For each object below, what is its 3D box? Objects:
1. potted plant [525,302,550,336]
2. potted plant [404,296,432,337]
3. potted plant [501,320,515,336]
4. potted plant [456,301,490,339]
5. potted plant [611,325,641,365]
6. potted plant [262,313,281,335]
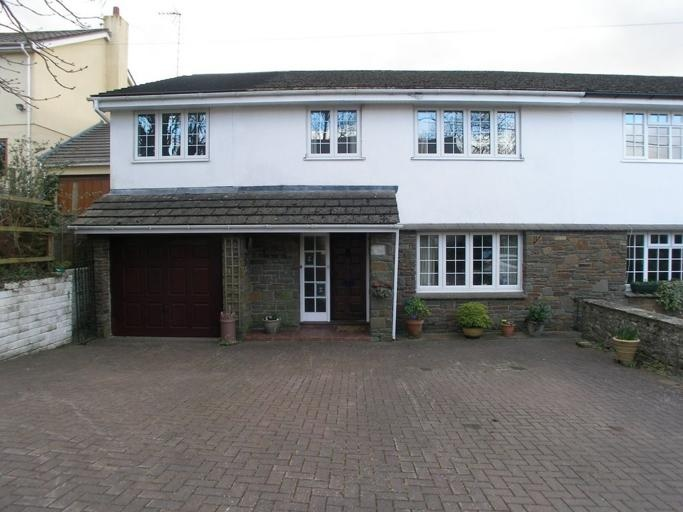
[{"bbox_3d":[5.460,1.716,15.457,0.646,0.857,0.539,-1,4,10],"label":"potted plant"},{"bbox_3d":[2.074,1.648,15.317,0.658,1.063,0.509,-1,4,5],"label":"potted plant"},{"bbox_3d":[4.548,1.968,15.341,0.389,0.394,0.397,1,-6,2],"label":"potted plant"},{"bbox_3d":[3.556,1.780,15.388,1.029,0.982,1.027,-9,-16,43],"label":"potted plant"},{"bbox_3d":[6.592,2.029,12.891,0.512,0.811,0.680,1,5,30],"label":"potted plant"},{"bbox_3d":[-1.899,1.857,15.428,0.491,0.336,0.465,-2,6,-29],"label":"potted plant"}]
